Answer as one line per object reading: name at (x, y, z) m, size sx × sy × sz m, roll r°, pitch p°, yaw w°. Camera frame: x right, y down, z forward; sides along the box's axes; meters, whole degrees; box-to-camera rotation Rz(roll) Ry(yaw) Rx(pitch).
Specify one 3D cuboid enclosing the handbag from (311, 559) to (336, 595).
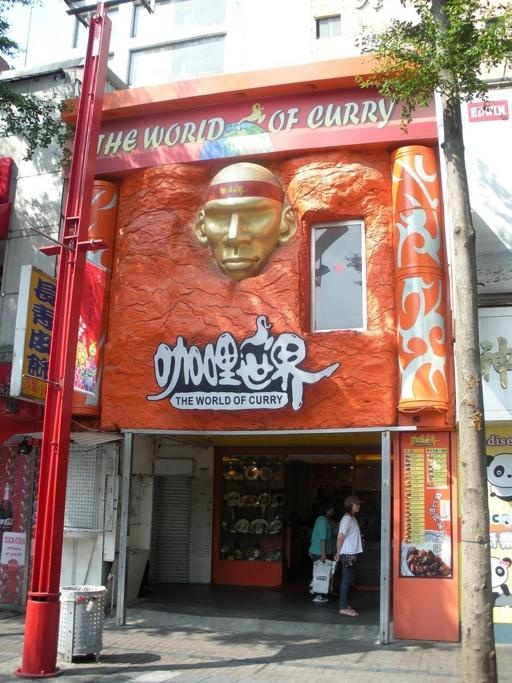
handbag at (1.233, 4.304, 10.865) m, size 0.482 × 0.658 × 0.355 m, roll -5°, pitch -12°, yaw 26°

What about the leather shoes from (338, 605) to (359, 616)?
leather shoes at (1.481, 4.312, 9.582) m, size 0.295 × 0.127 × 0.318 m, roll -1°, pitch -10°, yaw 8°

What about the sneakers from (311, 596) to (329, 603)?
sneakers at (1.153, 4.640, 10.784) m, size 0.282 × 0.108 × 0.320 m, roll -1°, pitch -10°, yaw 8°

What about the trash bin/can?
trash bin/can at (-1.967, 3.177, 6.733) m, size 0.507 × 0.745 × 0.614 m, roll 4°, pitch -11°, yaw -14°
